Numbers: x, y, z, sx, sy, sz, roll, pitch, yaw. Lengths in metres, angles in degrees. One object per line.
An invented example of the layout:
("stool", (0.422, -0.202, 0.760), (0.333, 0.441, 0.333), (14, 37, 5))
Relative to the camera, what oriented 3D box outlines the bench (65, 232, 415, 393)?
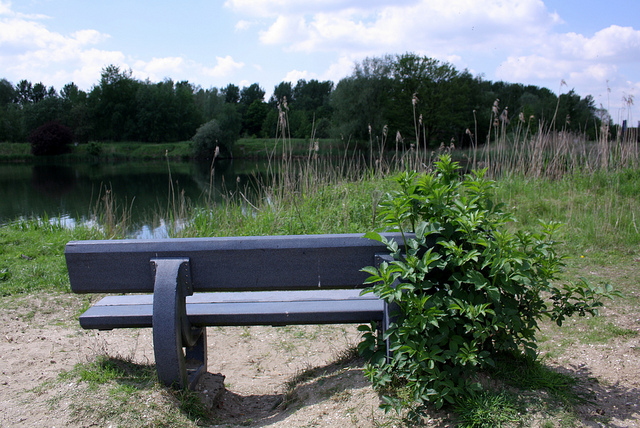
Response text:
("bench", (-0.679, 0.773, 3.709), (2.391, 1.248, 0.588), (-2, 13, 1))
